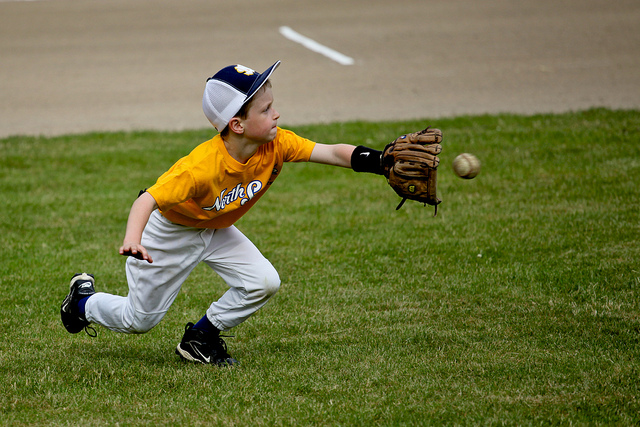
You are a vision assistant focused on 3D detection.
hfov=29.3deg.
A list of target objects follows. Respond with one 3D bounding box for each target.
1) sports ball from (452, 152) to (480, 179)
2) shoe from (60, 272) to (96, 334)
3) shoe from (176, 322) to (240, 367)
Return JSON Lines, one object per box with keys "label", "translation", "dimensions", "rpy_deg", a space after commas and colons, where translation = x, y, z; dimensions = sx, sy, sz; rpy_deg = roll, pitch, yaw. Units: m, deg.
{"label": "sports ball", "translation": [1.474, -0.452, 12.021], "dimensions": [0.317, 0.303, 0.304], "rpy_deg": [-1, 2, 0]}
{"label": "shoe", "translation": [-2.441, 0.935, 12.279], "dimensions": [0.416, 0.404, 0.839], "rpy_deg": [-6, 30, -11]}
{"label": "shoe", "translation": [-1.161, 1.328, 11.992], "dimensions": [0.798, 0.377, 0.285], "rpy_deg": [16, 15, 1]}
